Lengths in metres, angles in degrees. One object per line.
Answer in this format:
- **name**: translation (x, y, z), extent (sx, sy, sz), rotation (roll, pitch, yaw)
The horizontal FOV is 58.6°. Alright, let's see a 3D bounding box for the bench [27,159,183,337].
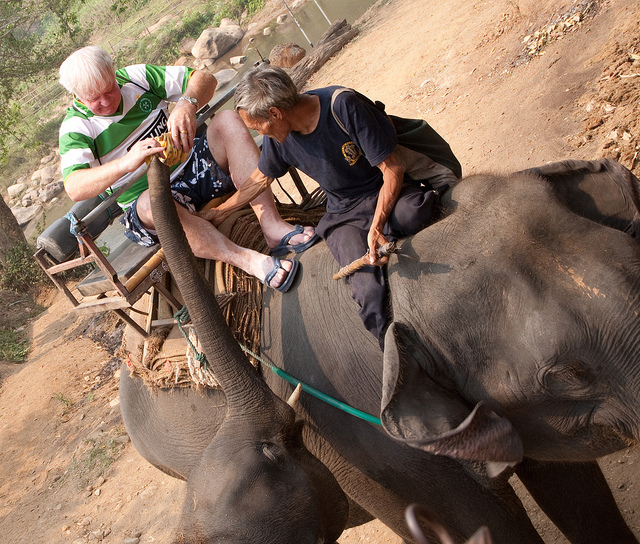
- **bench**: translation (-1.027, -0.061, 2.997), extent (0.668, 0.764, 0.556), rotation (-9, 30, 38)

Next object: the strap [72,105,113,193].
- **strap**: translation (-1.373, -0.783, 3.402), extent (0.120, 0.385, 0.093), rotation (-18, 25, -29)

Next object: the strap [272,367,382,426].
- **strap**: translation (0.046, 0.518, 2.371), extent (0.422, 0.058, 0.044), rotation (32, 59, 21)

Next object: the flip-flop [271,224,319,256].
- **flip-flop**: translation (-0.122, -0.137, 2.823), extent (0.236, 0.093, 0.107), rotation (-14, 39, 40)

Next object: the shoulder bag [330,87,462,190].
- **shoulder bag**: translation (0.412, -0.535, 2.541), extent (0.366, 0.517, 0.553), rotation (-18, 26, -34)
